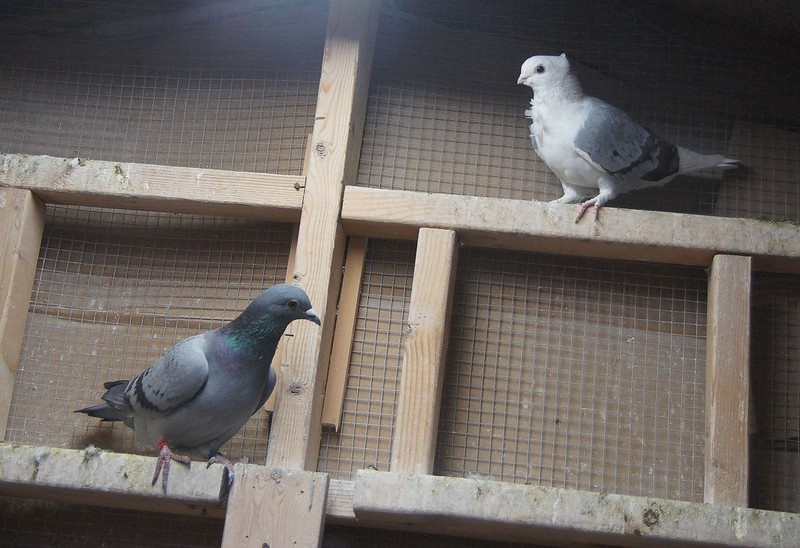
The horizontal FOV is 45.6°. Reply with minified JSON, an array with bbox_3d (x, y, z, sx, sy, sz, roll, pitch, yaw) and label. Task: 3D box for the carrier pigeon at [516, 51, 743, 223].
[{"bbox_3d":[0.981,-0.575,3.964,0.955,0.613,0.453,-2,14,-16],"label":"carrier pigeon"}]
